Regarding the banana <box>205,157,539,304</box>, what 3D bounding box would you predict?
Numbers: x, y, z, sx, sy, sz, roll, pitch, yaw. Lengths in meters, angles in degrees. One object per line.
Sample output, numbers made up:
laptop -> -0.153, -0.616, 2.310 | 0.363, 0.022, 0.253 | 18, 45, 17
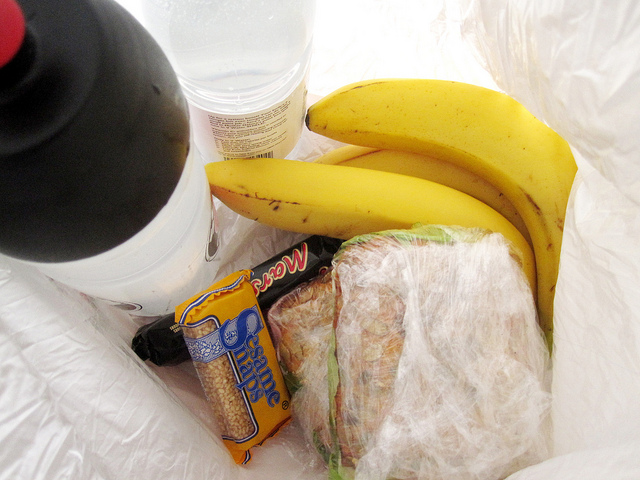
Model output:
banana -> 0.088, -0.014, 0.795 | 0.463, 0.128, 0.099 | 9, 26, -10

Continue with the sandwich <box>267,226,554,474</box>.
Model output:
sandwich -> 0.154, 0.152, 0.759 | 0.297, 0.165, 0.298 | -5, 62, -7
